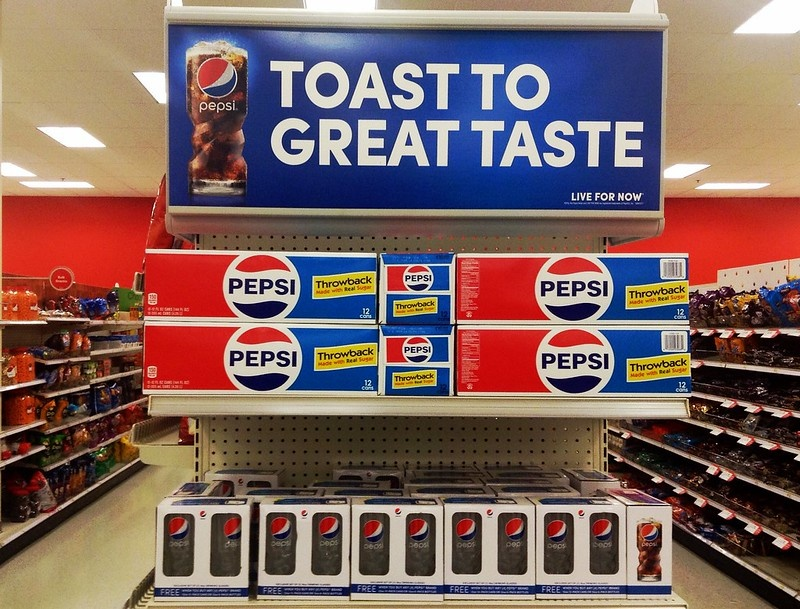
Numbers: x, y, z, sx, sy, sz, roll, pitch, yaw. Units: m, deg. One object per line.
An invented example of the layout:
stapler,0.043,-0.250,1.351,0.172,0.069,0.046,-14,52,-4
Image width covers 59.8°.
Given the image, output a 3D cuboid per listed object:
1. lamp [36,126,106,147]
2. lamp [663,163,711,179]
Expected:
lamp,-3.511,-1.783,7.467,0.520,0.176,0.613,4,7,2
lamp,3.597,-1.654,8.724,0.493,0.158,0.739,6,7,21
